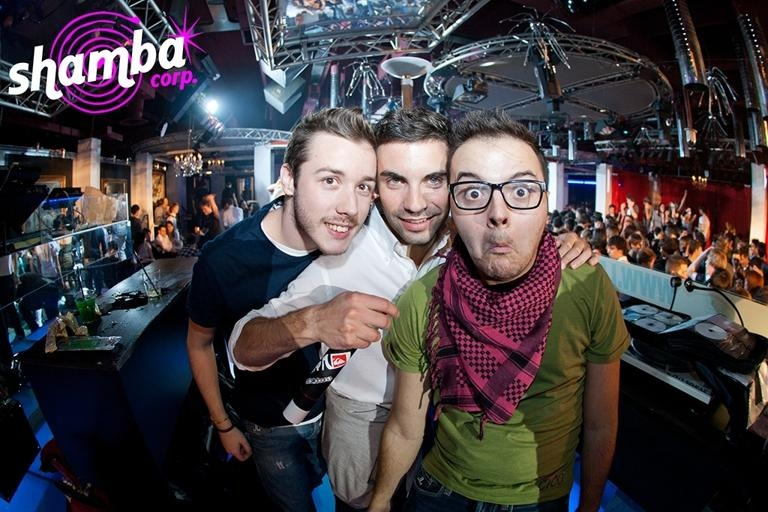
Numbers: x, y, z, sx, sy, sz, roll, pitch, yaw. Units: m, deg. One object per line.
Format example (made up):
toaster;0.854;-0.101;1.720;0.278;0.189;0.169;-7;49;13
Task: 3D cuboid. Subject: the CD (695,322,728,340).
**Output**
CD;2.212;0.519;3.065;0.179;0.088;0.132;6;10;38

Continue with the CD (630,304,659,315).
CD;1.986;0.418;3.454;0.186;0.048;0.152;-5;9;-30

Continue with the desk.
desk;-2.363;1.152;4.280;0.632;1.362;1.480;-10;24;-8

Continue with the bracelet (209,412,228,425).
bracelet;-1.293;1.287;3.538;0.156;0.065;0.137;2;-18;-21

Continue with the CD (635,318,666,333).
CD;1.933;0.509;3.286;0.154;0.060;0.179;-7;11;-43

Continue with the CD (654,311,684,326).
CD;2.096;0.472;3.338;0.103;0.029;0.105;3;21;3
